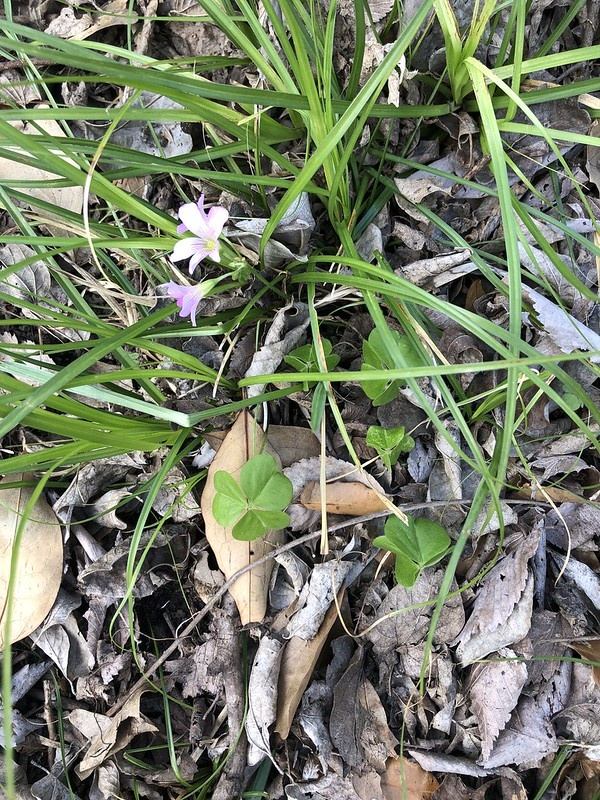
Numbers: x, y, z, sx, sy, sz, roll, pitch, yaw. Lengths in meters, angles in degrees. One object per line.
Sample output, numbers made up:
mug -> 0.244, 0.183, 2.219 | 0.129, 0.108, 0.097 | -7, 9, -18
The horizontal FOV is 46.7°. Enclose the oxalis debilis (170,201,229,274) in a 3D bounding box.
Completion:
oxalis debilis -> -0.184, -0.307, 1.281 | 0.093, 0.120, 0.120 | 13, 78, 6
